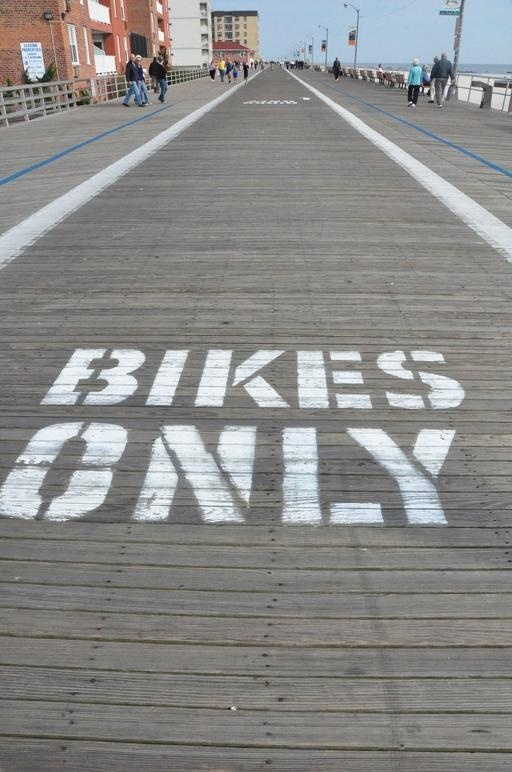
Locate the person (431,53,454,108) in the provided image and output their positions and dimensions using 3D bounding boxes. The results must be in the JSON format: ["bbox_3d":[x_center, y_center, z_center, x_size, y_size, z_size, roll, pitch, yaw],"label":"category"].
[{"bbox_3d":[7.273,-11.987,27.819,0.829,1.794,0.652,-3,23,-5],"label":"person"}]
